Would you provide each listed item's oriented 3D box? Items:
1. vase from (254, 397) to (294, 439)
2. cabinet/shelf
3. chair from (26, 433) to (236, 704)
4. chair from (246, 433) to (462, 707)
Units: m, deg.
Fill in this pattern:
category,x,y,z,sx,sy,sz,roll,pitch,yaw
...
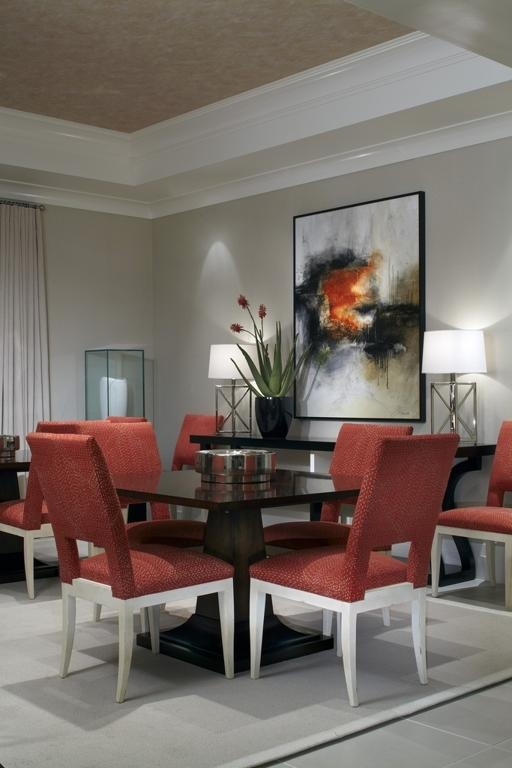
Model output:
category,x,y,z,sx,sy,sz,roll,pitch,yaw
vase,0.134,0.268,4.477,0.295,0.370,0.305,-2,-3,37
cabinet/shelf,-1.445,-0.014,5.740,0.608,0.756,0.413,3,-10,-16
chair,-0.382,0.528,1.735,0.404,0.778,0.543,-1,-2,36
chair,0.294,0.535,1.715,0.422,0.740,0.582,8,-13,-39
